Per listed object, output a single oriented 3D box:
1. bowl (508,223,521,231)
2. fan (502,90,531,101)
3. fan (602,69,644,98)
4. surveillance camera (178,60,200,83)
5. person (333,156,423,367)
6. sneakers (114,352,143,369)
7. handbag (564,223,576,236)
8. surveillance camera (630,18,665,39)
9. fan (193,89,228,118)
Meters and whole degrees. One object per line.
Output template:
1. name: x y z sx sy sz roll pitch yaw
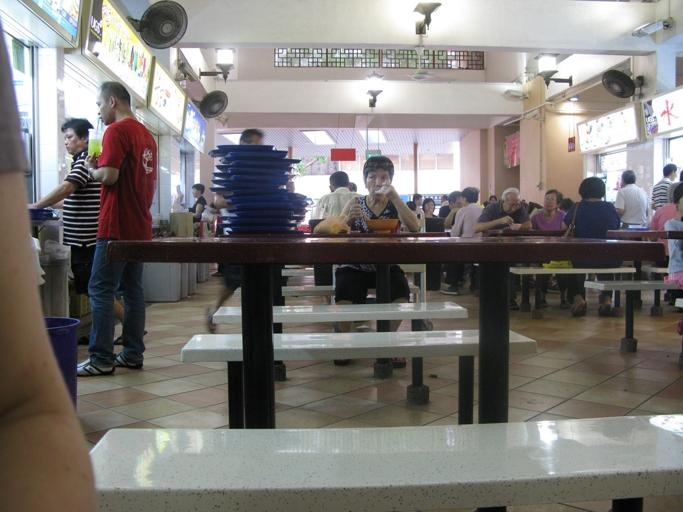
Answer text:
1. bowl: 1.611 -0.268 5.313 0.105 0.036 0.101 -1 5 0
2. fan: 3.298 -3.060 10.970 0.340 0.133 0.350 2 4 -3
3. fan: 3.975 -2.479 8.180 0.674 0.401 0.293 -1 5 -25
4. surveillance camera: -2.123 -2.546 7.959 0.146 0.106 0.385 10 3 -1
5. person: 0.147 -0.002 3.138 0.522 1.153 0.680 -1 -5 26
6. sneakers: -1.280 0.648 3.530 0.208 0.090 0.075 9 0 7
7. handbag: 2.012 -0.233 5.036 0.086 0.084 0.209 -15 -17 21
8. surveillance camera: 4.075 -2.958 7.443 0.431 0.159 0.306 -12 4 3
9. fan: -1.949 -2.330 8.782 0.376 0.392 0.373 0 5 -16
